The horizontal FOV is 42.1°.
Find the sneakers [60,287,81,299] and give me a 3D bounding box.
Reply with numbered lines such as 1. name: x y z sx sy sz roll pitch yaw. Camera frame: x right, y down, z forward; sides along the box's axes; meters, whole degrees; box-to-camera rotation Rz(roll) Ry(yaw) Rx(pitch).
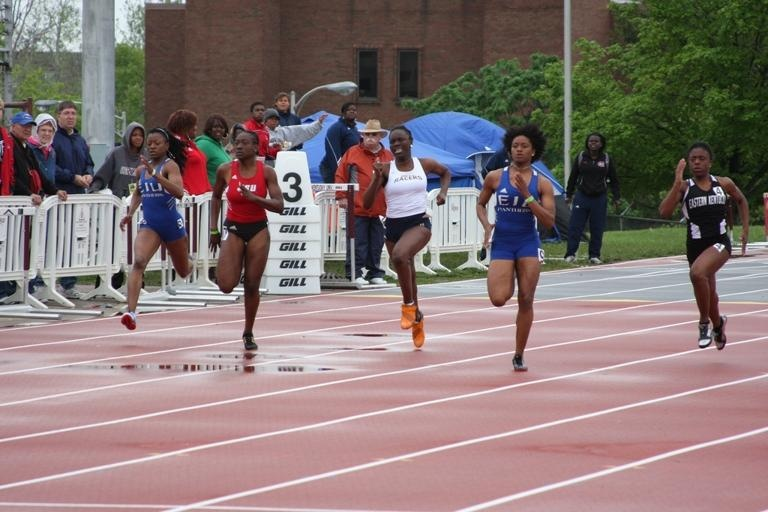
1. sneakers: -4.902 0.581 15.464 0.379 0.148 0.146 2 8 11

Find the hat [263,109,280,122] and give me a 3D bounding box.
1. hat: -1.993 -2.456 17.464 0.182 0.179 0.241 8 -10 -15

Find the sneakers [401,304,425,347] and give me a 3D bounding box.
1. sneakers: 0.311 0.785 11.536 0.194 0.570 0.241 -10 -2 21

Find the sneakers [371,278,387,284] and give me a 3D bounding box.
1. sneakers: -0.090 0.438 17.106 0.220 0.087 0.119 -1 0 15

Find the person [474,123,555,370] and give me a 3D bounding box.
1. person: 1.367 -0.110 10.463 0.772 2.489 0.979 0 6 4

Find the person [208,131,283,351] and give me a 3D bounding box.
1. person: -1.556 -0.166 11.272 0.796 2.446 0.753 -2 6 -11

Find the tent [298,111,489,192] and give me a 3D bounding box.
1. tent: 0.348 -2.171 21.045 3.635 1.389 3.508 0 3 10

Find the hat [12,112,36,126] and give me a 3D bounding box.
1. hat: -5.183 -1.952 14.270 0.260 0.187 0.384 5 -9 -43

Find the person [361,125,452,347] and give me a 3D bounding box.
1. person: 0.247 -0.267 12.056 0.974 2.555 1.555 0 6 6

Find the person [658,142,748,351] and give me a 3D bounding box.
1. person: 3.766 -0.149 11.739 0.947 2.338 1.240 1 6 18

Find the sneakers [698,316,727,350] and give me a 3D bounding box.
1. sneakers: 3.739 0.910 11.374 0.241 0.514 0.184 12 -6 -38

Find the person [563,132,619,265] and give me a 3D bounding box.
1. person: 4.285 -1.186 20.708 1.096 2.683 1.450 0 6 10

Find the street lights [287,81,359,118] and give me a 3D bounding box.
1. street lights: -1.887 -4.548 29.573 2.357 0.867 0.346 -18 21 -30

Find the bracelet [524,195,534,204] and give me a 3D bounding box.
1. bracelet: 1.486 -0.565 10.192 0.071 0.042 0.090 -11 -5 -7

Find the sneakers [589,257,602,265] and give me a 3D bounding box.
1. sneakers: 4.361 0.117 20.741 0.131 0.096 0.234 -1 -3 -12

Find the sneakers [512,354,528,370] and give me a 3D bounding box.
1. sneakers: 1.383 1.085 10.212 0.142 0.166 0.190 0 6 9
